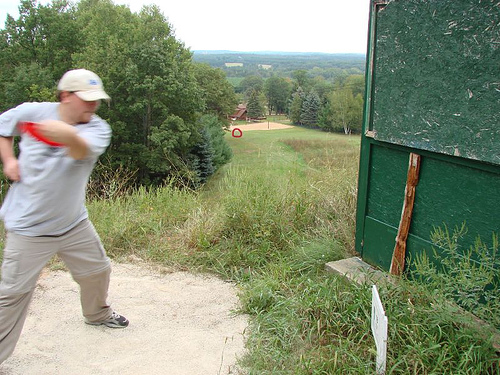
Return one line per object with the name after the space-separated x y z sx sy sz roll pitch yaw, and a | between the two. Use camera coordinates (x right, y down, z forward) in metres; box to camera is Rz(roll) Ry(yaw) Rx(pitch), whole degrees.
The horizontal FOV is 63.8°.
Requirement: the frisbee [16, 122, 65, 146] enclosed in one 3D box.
-1.782 -0.490 3.474 0.324 0.079 0.324 29 -6 20 | frisbee

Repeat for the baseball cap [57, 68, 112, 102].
-1.430 -0.922 3.560 0.461 0.240 0.337 24 28 24 | baseball cap
